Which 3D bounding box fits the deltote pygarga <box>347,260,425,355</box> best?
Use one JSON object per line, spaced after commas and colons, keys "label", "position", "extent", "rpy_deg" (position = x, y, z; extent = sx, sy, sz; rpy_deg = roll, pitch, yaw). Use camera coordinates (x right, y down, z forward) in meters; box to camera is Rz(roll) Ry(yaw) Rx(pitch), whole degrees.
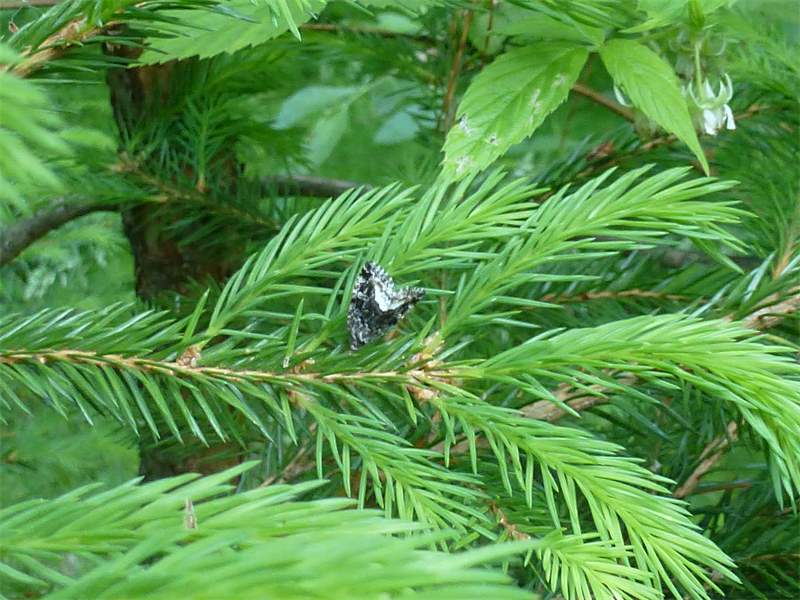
{"label": "deltote pygarga", "position": [-0.015, 0.003, 0.603], "extent": [0.047, 0.056, 0.044], "rpy_deg": [-9, 57, -14]}
